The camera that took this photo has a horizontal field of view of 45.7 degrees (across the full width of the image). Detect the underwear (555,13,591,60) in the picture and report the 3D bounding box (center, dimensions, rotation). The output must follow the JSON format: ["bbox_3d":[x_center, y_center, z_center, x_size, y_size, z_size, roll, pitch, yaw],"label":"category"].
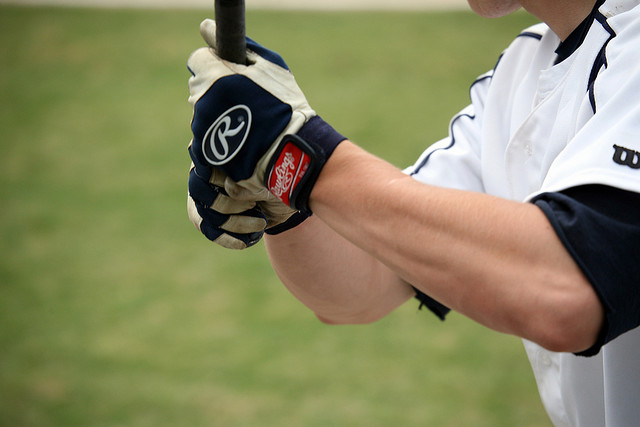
[{"bbox_3d":[0.903,-0.630,2.747,0.135,0.074,0.106,-52,19,-8],"label":"underwear"}]
